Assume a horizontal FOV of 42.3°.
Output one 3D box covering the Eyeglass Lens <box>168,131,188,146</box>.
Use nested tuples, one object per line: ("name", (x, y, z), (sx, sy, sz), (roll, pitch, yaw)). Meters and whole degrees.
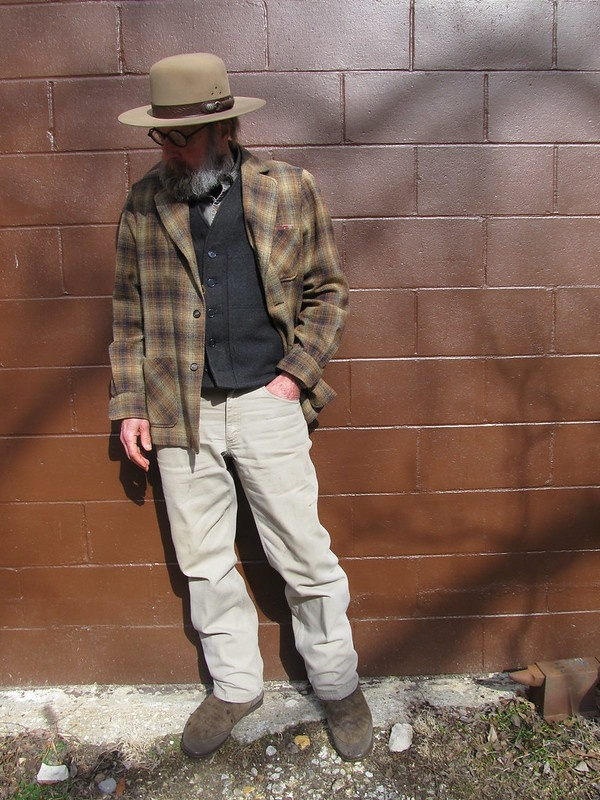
("Eyeglass Lens", (-0.343, -0.735, 2.183), (0.049, 0.018, 0.046), (18, 12, -18))

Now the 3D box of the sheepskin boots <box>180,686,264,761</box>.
("sheepskin boots", (-0.256, 1.020, 2.571), (0.150, 0.122, 0.349), (29, 31, 26))

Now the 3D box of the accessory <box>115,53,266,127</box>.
("accessory", (-0.320, -0.906, 2.229), (0.437, 0.131, 0.382), (-2, 37, 1))

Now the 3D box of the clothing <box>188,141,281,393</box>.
("clothing", (-0.202, -0.341, 2.309), (0.241, 0.640, 0.185), (-13, 18, -28))

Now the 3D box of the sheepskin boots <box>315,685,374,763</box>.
("sheepskin boots", (0.151, 1.031, 2.481), (0.100, 0.096, 0.268), (-17, 9, -14))

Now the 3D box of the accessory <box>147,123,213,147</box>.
("accessory", (-0.332, -0.752, 2.195), (0.134, 0.035, 0.132), (11, 30, 32))
